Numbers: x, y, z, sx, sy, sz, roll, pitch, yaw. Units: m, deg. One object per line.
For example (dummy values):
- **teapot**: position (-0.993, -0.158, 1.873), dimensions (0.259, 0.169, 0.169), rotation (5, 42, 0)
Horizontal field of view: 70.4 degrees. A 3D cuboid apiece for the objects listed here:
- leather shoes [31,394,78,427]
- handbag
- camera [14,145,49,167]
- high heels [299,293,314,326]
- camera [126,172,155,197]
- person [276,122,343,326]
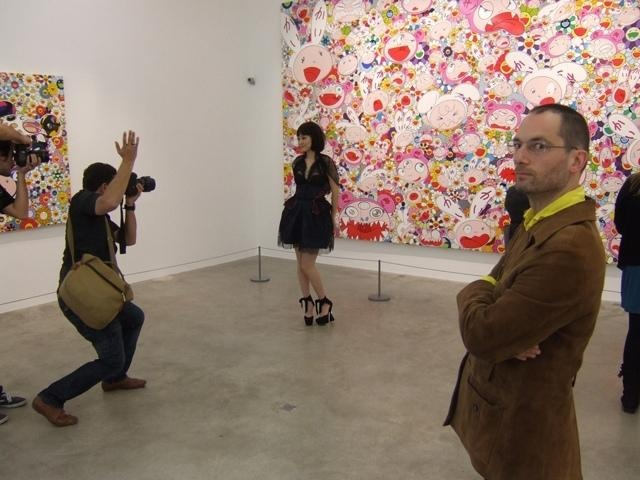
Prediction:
- **leather shoes**: position (-1.860, 1.241, 3.277), dimensions (0.274, 0.122, 0.088), rotation (35, 7, -11)
- **handbag**: position (-1.550, 0.220, 3.235), dimensions (0.473, 0.784, 0.414), rotation (5, 14, 24)
- **camera**: position (-1.929, -0.600, 3.151), dimensions (0.163, 0.152, 0.220), rotation (2, 4, 5)
- **high heels**: position (-0.121, 0.788, 5.117), dimensions (0.133, 0.371, 0.144), rotation (-1, 4, -8)
- **camera**: position (-1.377, -0.434, 3.597), dimensions (0.227, 0.146, 0.096), rotation (7, 3, -14)
- **person**: position (-0.094, -0.155, 4.959), dimensions (0.606, 2.208, 0.458), rotation (-1, 13, -2)
